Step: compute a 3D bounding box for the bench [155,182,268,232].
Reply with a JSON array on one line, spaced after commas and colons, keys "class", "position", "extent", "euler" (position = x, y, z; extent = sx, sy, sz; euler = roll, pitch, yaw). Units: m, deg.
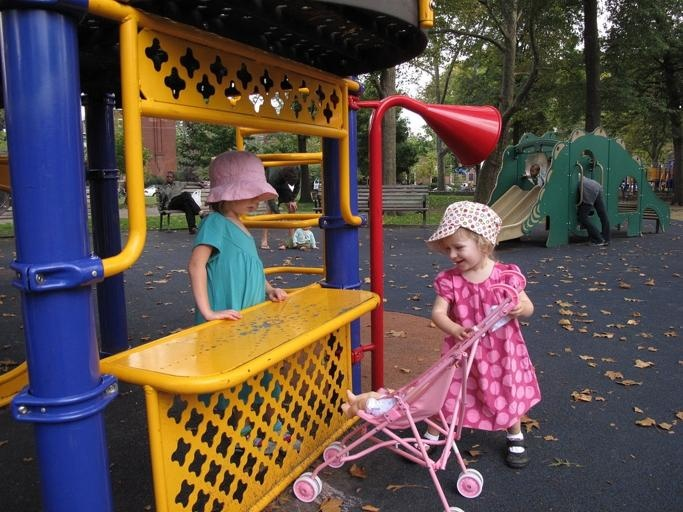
[{"class": "bench", "position": [-3.531, -1.181, 15.576], "extent": [0.858, 1.034, 1.955], "euler": [1, 3, 35]}]

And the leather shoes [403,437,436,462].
[{"class": "leather shoes", "position": [0.445, 1.100, 3.557], "extent": [0.099, 0.130, 0.286], "euler": [-5, -18, 42]}]

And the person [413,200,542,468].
[{"class": "person", "position": [0.748, 0.440, 3.491], "extent": [0.640, 1.419, 0.541], "euler": [-1, 7, 25]}]

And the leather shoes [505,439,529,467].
[{"class": "leather shoes", "position": [0.988, 1.100, 3.511], "extent": [0.075, 0.085, 0.193], "euler": [-2, 2, 9]}]

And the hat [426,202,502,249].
[{"class": "hat", "position": [0.669, -0.193, 3.401], "extent": [0.416, 0.230, 0.310], "euler": [5, 0, -11]}]

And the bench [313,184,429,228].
[{"class": "bench", "position": [0.763, -1.321, 16.257], "extent": [2.909, 1.198, 0.785], "euler": [0, 18, 2]}]
